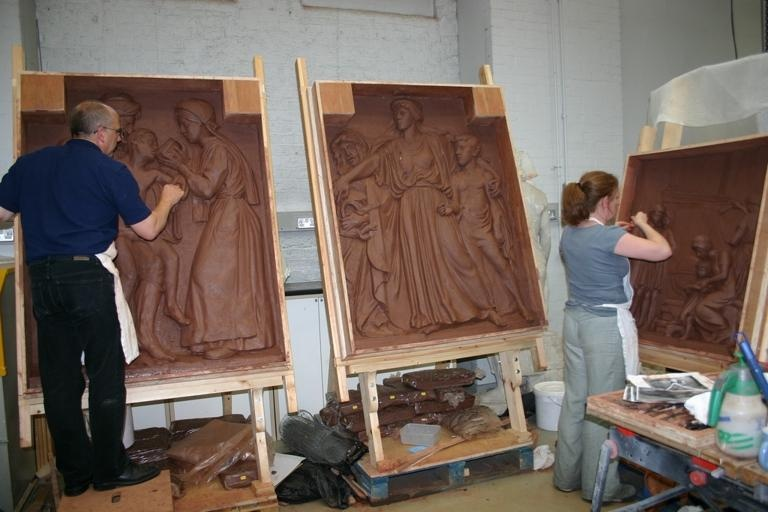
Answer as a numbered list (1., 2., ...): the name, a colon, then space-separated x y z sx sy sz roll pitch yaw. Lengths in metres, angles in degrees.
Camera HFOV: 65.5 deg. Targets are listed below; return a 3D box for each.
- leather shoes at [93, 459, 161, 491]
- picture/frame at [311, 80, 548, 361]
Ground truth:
1. leather shoes: -1.666 1.435 3.890 0.416 0.158 0.141 -6 6 -23
2. picture/frame: 0.273 -0.350 4.430 1.584 1.941 0.613 -7 7 -12
